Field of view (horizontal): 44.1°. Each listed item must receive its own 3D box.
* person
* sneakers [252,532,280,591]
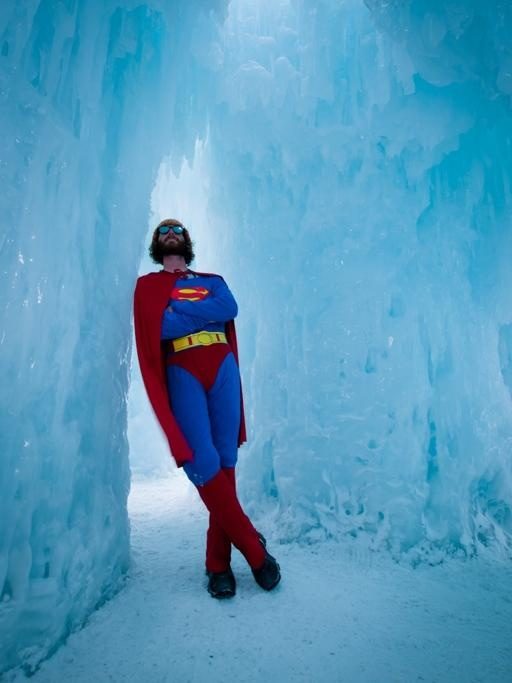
[{"bbox_3d":[-0.204,0.191,2.245,0.331,1.425,0.281,-1,-25,-22],"label":"person"},{"bbox_3d":[0.031,0.778,2.233,0.057,0.061,0.165,-19,37,-3],"label":"sneakers"}]
